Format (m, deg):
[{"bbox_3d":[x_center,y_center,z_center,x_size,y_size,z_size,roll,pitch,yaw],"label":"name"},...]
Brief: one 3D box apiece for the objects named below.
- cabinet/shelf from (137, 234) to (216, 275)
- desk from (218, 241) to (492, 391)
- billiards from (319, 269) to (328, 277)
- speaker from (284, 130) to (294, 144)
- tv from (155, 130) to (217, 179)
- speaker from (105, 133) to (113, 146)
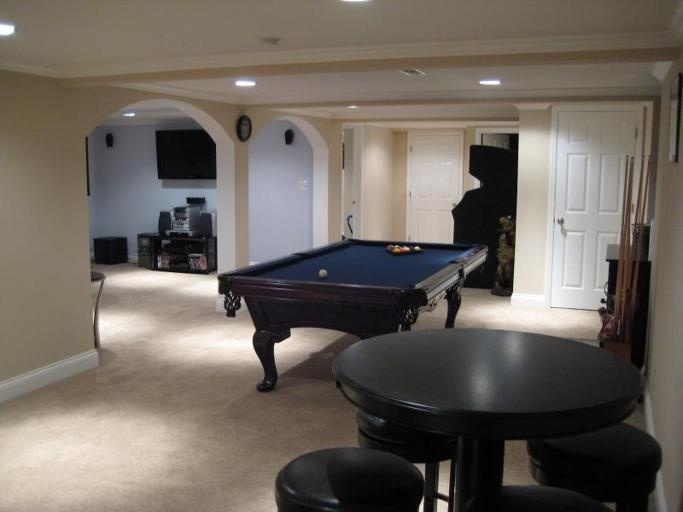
[{"bbox_3d":[-2.872,-0.050,8.999,1.467,0.597,0.358,4,11,21],"label":"cabinet/shelf"},{"bbox_3d":[0.325,0.455,4.965,1.673,0.859,2.889,3,8,24],"label":"desk"},{"bbox_3d":[-0.143,0.135,4.059,0.055,0.050,0.055,4,-6,-26],"label":"billiards"},{"bbox_3d":[-0.858,-1.960,8.570,0.156,0.245,0.104,2,11,9],"label":"speaker"},{"bbox_3d":[-2.780,-1.798,9.215,1.278,0.866,0.205,5,11,24],"label":"tv"},{"bbox_3d":[-4.413,-2.179,9.798,0.164,0.257,0.100,3,11,13],"label":"speaker"}]
